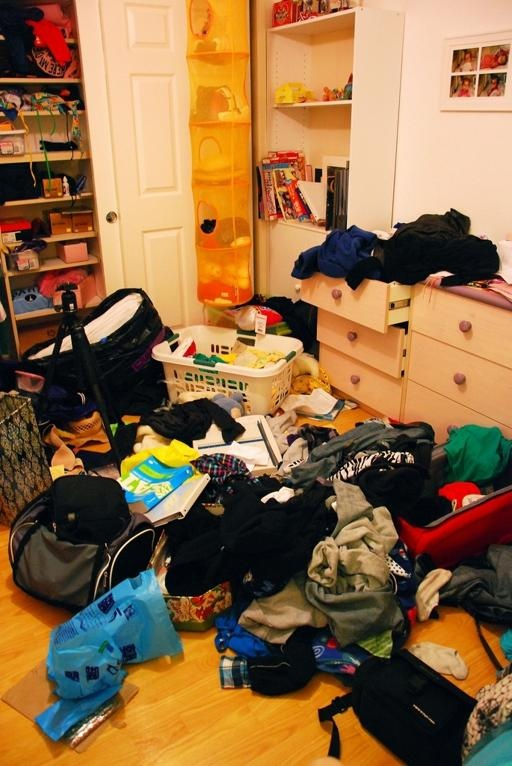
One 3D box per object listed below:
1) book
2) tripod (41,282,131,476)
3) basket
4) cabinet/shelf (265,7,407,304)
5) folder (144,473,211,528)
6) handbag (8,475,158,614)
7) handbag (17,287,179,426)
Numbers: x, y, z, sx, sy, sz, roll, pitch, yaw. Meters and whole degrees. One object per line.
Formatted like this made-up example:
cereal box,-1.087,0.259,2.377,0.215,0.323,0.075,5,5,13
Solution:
book,0.213,-1.040,3.197,0.538,0.168,0.398,2,30,-22
tripod,-0.730,-0.053,2.367,0.286,0.727,0.663,-9,20,-16
basket,-0.128,-0.067,2.835,0.672,0.323,0.536,5,21,23
cabinet/shelf,0.353,-1.136,2.991,0.350,1.425,0.948,-12,21,-22
folder,-0.258,0.369,1.789,0.130,0.033,0.142,-22,14,21
handbag,-0.504,0.452,1.649,0.328,0.258,0.347,13,25,39
handbag,-0.694,-0.112,2.719,0.561,0.317,0.663,-19,29,2
